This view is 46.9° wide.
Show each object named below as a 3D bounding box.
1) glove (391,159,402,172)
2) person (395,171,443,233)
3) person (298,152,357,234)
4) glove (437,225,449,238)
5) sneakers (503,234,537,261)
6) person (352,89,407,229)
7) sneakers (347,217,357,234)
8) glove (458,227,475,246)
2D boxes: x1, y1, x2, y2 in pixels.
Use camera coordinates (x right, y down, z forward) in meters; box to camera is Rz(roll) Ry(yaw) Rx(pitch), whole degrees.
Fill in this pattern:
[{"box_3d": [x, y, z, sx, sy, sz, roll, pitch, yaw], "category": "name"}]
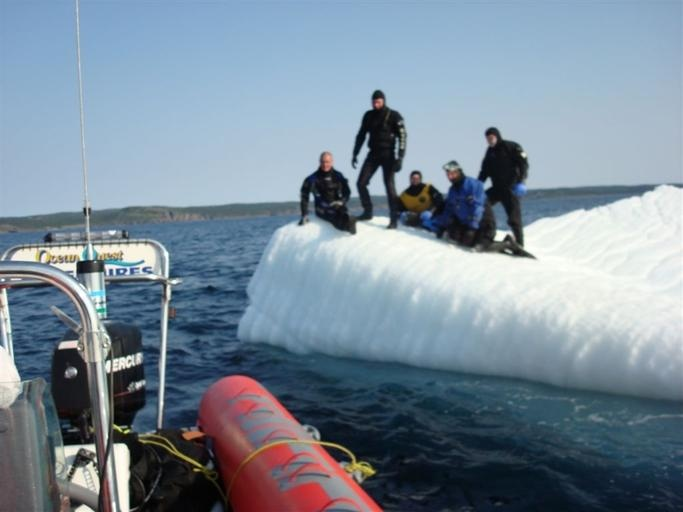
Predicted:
[{"box_3d": [0.919, -1.499, 12.930, 0.111, 0.229, 0.413, -9, 12, -2], "category": "glove"}, {"box_3d": [1.326, -0.958, 13.696, 0.816, 1.149, 0.653, -9, -11, 13], "category": "person"}, {"box_3d": [-0.110, -1.019, 13.034, 0.741, 1.262, 1.288, -11, 24, -33], "category": "person"}, {"box_3d": [1.679, -0.418, 13.050, 0.202, 0.186, 0.337, -2, -1, 10], "category": "glove"}, {"box_3d": [2.915, -0.133, 12.572, 0.655, 0.175, 0.260, 30, 18, 13], "category": "sneakers"}, {"box_3d": [0.655, -1.611, 13.181, 0.429, 2.261, 1.166, -18, 15, -39], "category": "person"}, {"box_3d": [0.153, -0.495, 12.621, 0.122, 0.246, 0.231, -1, -3, -14], "category": "sneakers"}, {"box_3d": [2.019, -0.316, 12.608, 0.261, 0.263, 0.073, 18, 7, 35], "category": "glove"}]
